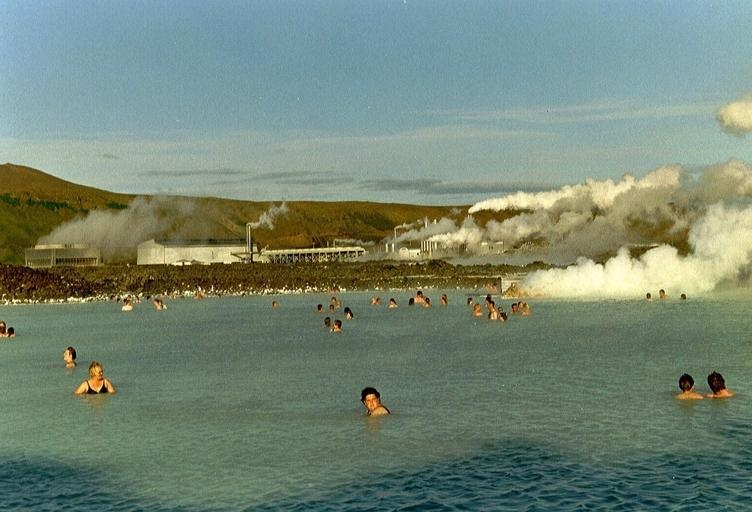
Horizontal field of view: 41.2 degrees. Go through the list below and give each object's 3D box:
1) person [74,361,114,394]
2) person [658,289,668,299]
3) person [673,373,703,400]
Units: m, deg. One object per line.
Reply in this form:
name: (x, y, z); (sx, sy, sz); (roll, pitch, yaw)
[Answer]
person: (-12.779, 5.565, 45.719); (1.969, 1.570, 0.764); (1, 9, -42)
person: (23.615, 3.126, 82.151); (0.670, 0.960, 0.947); (0, -9, 9)
person: (13.666, 5.731, 43.689); (1.507, 1.375, 0.919); (-1, 19, 20)
